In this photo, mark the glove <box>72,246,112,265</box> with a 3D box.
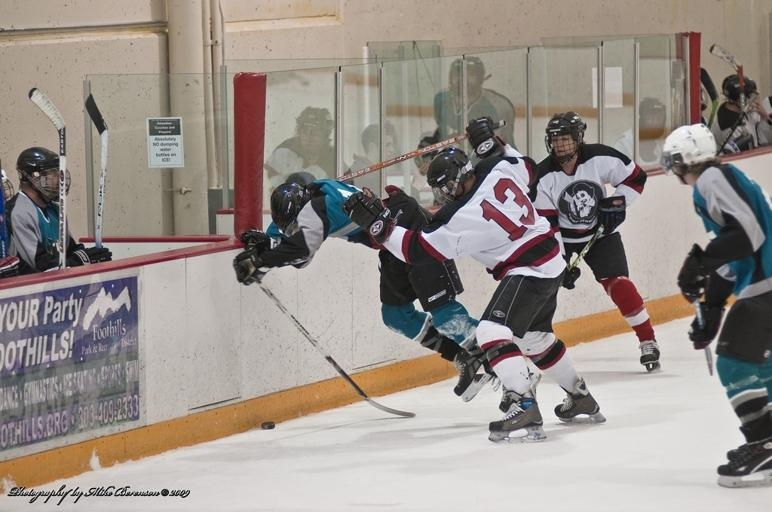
[{"bbox_3d":[-1.839,-0.001,6.269,0.168,0.075,0.163,-8,13,-34],"label":"glove"}]

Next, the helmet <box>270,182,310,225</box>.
[{"bbox_3d":[-0.577,-0.298,6.053,0.237,0.266,0.173,-3,11,-8],"label":"helmet"}]

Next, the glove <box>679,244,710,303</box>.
[{"bbox_3d":[1.622,0.101,5.368,0.087,0.269,0.189,9,36,-13],"label":"glove"}]

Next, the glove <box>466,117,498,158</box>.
[{"bbox_3d":[0.653,-0.779,6.583,0.225,0.255,0.112,-26,-22,37],"label":"glove"}]

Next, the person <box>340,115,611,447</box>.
[{"bbox_3d":[0.569,0.198,6.031,1.340,1.696,0.940,-3,-1,-21],"label":"person"}]

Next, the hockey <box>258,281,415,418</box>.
[{"bbox_3d":[-0.368,0.592,6.570,0.208,1.149,0.097,-20,36,52],"label":"hockey"}]

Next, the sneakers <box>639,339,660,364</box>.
[{"bbox_3d":[1.889,0.691,7.230,0.081,0.108,0.250,-10,4,12],"label":"sneakers"}]

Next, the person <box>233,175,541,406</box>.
[{"bbox_3d":[-0.014,0.235,6.389,1.707,1.566,0.633,-11,3,-10],"label":"person"}]

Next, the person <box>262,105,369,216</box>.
[{"bbox_3d":[-0.545,-0.774,7.251,0.625,1.001,0.579,15,20,19],"label":"person"}]

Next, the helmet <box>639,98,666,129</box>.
[{"bbox_3d":[2.175,-1.173,8.303,0.233,0.229,0.418,-4,-5,26],"label":"helmet"}]

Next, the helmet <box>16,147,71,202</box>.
[{"bbox_3d":[-2.163,-0.496,6.295,0.336,0.342,0.273,1,5,-26],"label":"helmet"}]

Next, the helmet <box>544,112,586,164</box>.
[{"bbox_3d":[1.245,-0.829,6.922,0.288,0.329,0.336,-6,10,27],"label":"helmet"}]

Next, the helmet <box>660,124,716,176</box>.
[{"bbox_3d":[1.728,-0.584,5.488,0.229,0.269,0.294,-1,-6,-41],"label":"helmet"}]

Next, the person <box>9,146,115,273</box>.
[{"bbox_3d":[-2.073,-0.199,6.360,0.660,0.928,0.554,3,8,-15],"label":"person"}]

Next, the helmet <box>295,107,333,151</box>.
[{"bbox_3d":[-0.500,-0.883,7.066,0.247,0.287,0.293,4,3,3],"label":"helmet"}]

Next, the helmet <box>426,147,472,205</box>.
[{"bbox_3d":[0.396,-0.457,6.000,0.306,0.301,0.259,-23,12,10],"label":"helmet"}]

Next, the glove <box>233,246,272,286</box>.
[{"bbox_3d":[-0.807,0.059,6.059,0.245,0.217,0.185,6,5,-18],"label":"glove"}]
